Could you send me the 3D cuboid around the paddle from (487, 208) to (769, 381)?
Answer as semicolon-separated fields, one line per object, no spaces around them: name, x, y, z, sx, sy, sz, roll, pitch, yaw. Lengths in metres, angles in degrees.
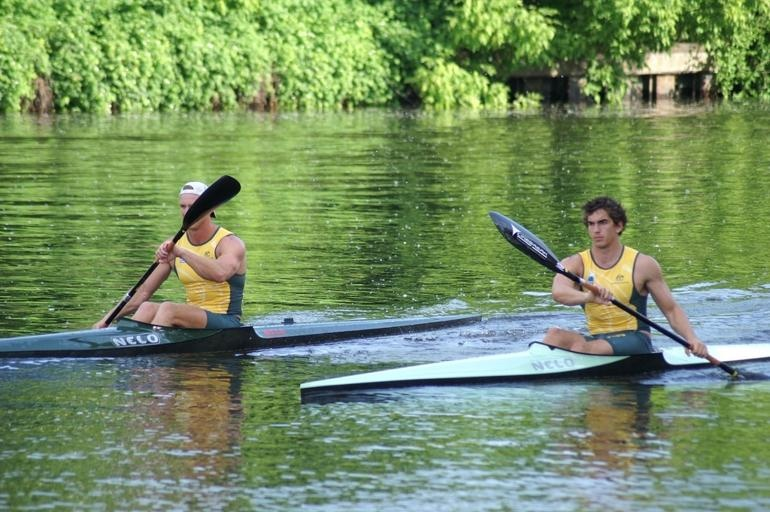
paddle;2.493;0.438;11.574;3.957;0.367;0.184;23;51;6

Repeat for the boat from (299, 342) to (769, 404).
boat;1.439;1.068;10.151;4.568;0.320;0.443;-2;1;-7
